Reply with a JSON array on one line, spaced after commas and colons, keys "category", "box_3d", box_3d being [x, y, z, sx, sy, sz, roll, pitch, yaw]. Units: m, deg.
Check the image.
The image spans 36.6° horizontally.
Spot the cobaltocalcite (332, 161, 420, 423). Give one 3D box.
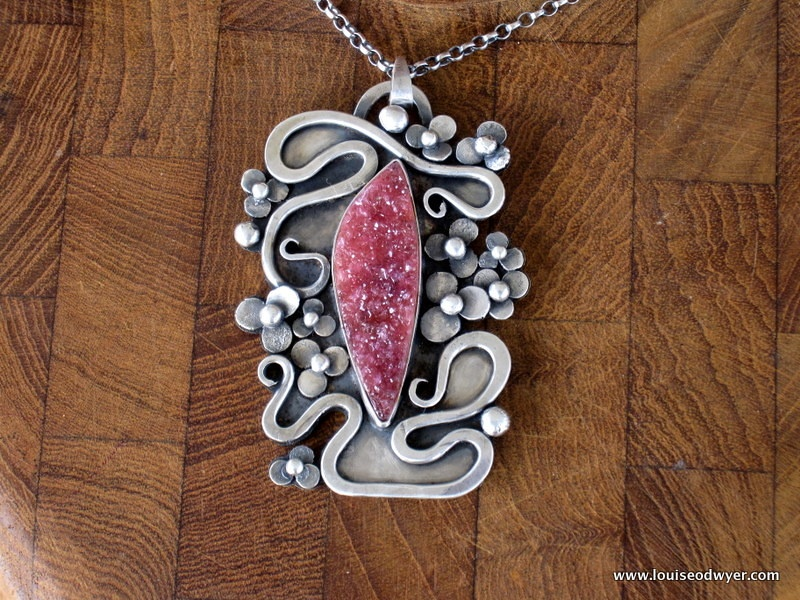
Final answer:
[{"category": "cobaltocalcite", "box_3d": [-0.040, -0.008, 2.745, 0.195, 0.498, 0.234, -9, 24, -18]}]
